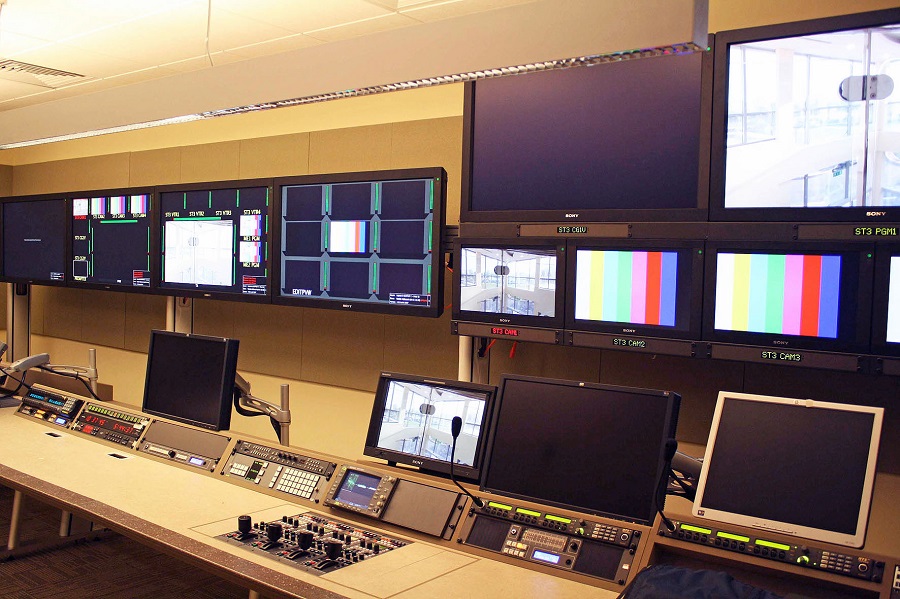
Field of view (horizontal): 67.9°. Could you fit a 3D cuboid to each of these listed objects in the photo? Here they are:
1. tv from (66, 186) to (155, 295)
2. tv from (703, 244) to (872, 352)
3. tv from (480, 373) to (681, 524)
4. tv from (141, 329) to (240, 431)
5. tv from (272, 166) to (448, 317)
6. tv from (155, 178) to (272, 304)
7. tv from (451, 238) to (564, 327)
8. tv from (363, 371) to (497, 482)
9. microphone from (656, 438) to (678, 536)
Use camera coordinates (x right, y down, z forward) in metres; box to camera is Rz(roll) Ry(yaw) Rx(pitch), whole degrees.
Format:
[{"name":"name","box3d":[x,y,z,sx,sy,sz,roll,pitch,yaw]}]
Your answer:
[{"name":"tv","box3d":[-2.907,-0.510,5.812,1.009,0.698,0.051,1,1,31]},{"name":"tv","box3d":[1.762,-0.004,3.454,0.597,0.392,0.060,1,-1,24]},{"name":"tv","box3d":[0.503,0.621,2.679,0.586,0.362,0.077,7,-14,25]},{"name":"tv","box3d":[-1.364,0.441,3.535,0.871,0.616,0.102,3,-5,31]},{"name":"tv","box3d":[-0.606,-0.401,4.634,1.137,0.743,0.118,2,-1,23]},{"name":"tv","box3d":[-1.826,-0.459,5.254,1.063,0.726,0.058,2,1,31]},{"name":"tv","box3d":[0.372,-0.102,4.037,0.561,0.383,0.029,3,3,21]},{"name":"tv","box3d":[-0.086,0.583,2.970,0.662,0.450,0.129,9,-19,26]},{"name":"microphone","box3d":[0.825,0.698,2.553,0.068,0.342,0.188,5,-2,18]}]
